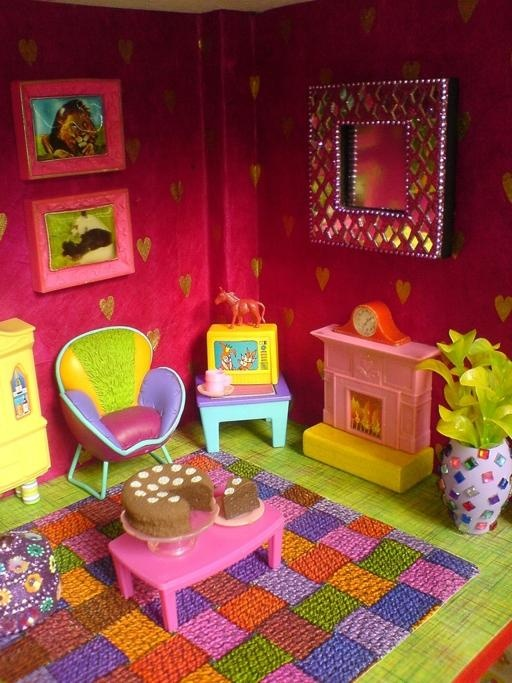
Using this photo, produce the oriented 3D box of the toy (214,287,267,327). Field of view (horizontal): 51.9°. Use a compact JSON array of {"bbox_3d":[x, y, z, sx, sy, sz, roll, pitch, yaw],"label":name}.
[{"bbox_3d":[-0.118,-0.244,3.614,0.319,0.245,0.346,-2,9,-4],"label":"toy"}]
